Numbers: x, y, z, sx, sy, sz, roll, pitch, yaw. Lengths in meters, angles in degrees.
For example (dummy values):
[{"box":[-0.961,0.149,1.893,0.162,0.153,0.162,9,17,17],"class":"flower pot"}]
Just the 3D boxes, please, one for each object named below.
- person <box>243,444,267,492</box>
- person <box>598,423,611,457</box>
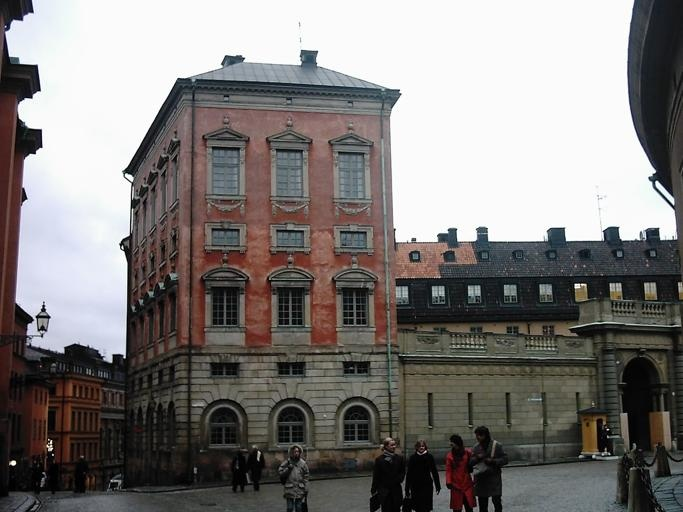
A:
[{"box":[-4.204,10.157,38.213,0.886,0.634,2.098,-5,-46,-2],"class":"person"},{"box":[15.565,10.613,45.872,0.673,2.039,1.345,-8,-18,17],"class":"person"}]
